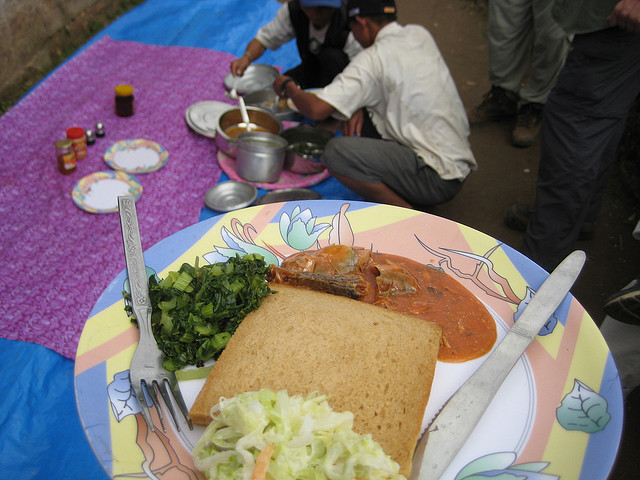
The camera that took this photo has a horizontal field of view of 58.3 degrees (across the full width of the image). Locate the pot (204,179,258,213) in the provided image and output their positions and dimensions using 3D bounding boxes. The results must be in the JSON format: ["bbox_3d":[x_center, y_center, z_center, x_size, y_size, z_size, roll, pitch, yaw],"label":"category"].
[{"bbox_3d":[-0.781,-0.386,5.067,0.465,0.131,0.313,-21,40,-38],"label":"pot"}]
